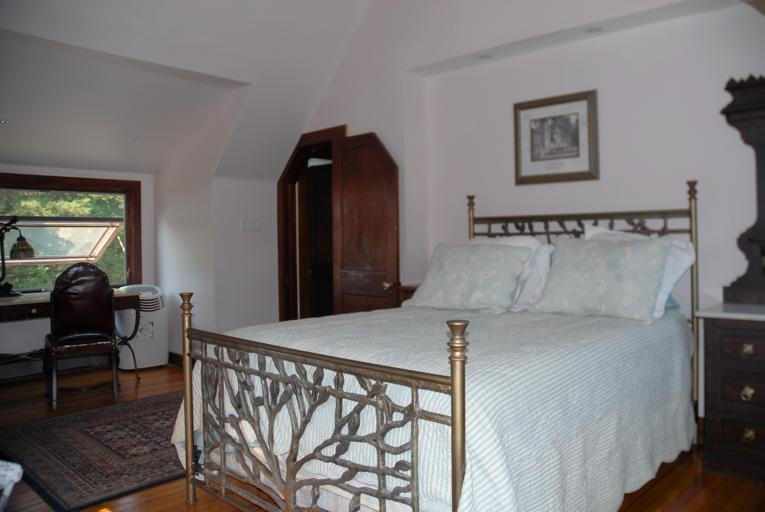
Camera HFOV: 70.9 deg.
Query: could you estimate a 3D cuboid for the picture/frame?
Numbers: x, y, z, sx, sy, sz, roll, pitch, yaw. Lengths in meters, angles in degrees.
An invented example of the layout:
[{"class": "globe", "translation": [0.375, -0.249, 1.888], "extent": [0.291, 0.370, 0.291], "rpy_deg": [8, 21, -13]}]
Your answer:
[{"class": "picture/frame", "translation": [1.442, -0.983, 4.375], "extent": [0.828, 0.865, 0.061], "rpy_deg": [-3, 0, 33]}]
